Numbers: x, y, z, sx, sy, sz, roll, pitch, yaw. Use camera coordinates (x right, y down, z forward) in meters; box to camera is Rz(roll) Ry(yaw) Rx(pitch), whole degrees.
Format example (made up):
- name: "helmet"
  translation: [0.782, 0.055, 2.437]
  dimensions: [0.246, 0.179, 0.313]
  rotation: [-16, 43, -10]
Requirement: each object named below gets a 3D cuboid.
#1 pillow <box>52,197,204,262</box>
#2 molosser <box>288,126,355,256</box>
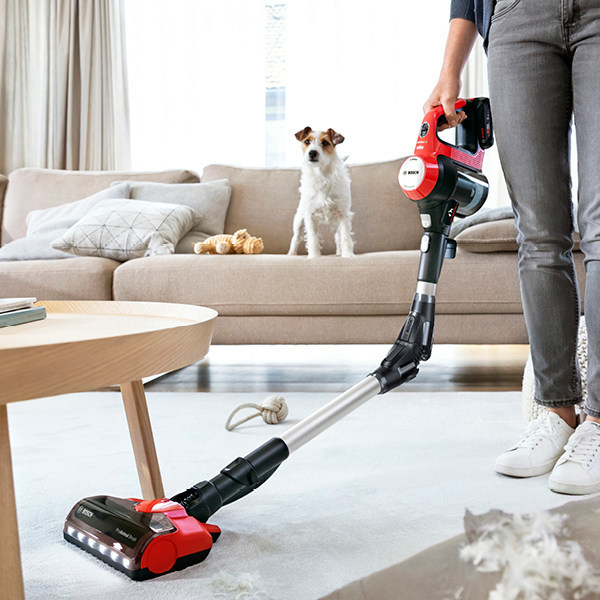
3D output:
- name: "pillow"
  translation: [-0.669, -0.319, 2.478]
  dimensions: [0.536, 0.249, 0.403]
  rotation: [3, 12, 5]
- name: "molosser"
  translation: [0.107, -0.456, 2.668]
  dimensions: [0.313, 0.585, 0.283]
  rotation: [-1, 16, 0]
